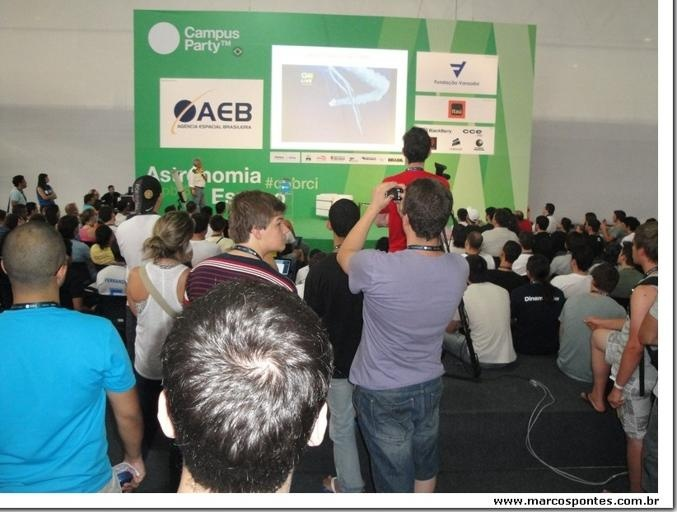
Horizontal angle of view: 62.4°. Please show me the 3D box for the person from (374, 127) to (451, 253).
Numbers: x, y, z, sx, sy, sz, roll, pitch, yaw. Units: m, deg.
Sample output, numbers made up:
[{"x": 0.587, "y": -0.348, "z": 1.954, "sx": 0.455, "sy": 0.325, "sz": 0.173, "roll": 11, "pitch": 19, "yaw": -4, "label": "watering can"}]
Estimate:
[{"x": 0.430, "y": -0.181, "z": 3.564, "sx": 0.392, "sy": 1.227, "sz": 0.341, "roll": 5, "pitch": 13, "yaw": 5, "label": "person"}]

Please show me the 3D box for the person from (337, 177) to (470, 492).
[{"x": 0.360, "y": 0.465, "z": 2.872, "sx": 0.592, "sy": 1.685, "sz": 0.305, "roll": -4, "pitch": 8, "yaw": -13, "label": "person"}]

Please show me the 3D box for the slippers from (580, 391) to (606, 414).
[{"x": 1.851, "y": 1.074, "z": 4.080, "sx": 0.056, "sy": 0.094, "sz": 0.199, "roll": 10, "pitch": 17, "yaw": -7, "label": "slippers"}]

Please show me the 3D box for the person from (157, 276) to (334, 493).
[{"x": -0.273, "y": 0.351, "z": 1.801, "sx": 0.473, "sy": 0.885, "sz": 0.550, "roll": 4, "pitch": 19, "yaw": -4, "label": "person"}]

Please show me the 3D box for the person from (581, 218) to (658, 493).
[{"x": 1.900, "y": 0.694, "z": 3.631, "sx": 0.304, "sy": 1.787, "sz": 1.036, "roll": -1, "pitch": 8, "yaw": 7, "label": "person"}]

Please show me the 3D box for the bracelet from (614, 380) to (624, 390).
[{"x": 1.769, "y": 0.818, "z": 3.533, "sx": 0.041, "sy": 0.024, "sz": 0.045, "roll": 4, "pitch": 15, "yaw": -6, "label": "bracelet"}]
